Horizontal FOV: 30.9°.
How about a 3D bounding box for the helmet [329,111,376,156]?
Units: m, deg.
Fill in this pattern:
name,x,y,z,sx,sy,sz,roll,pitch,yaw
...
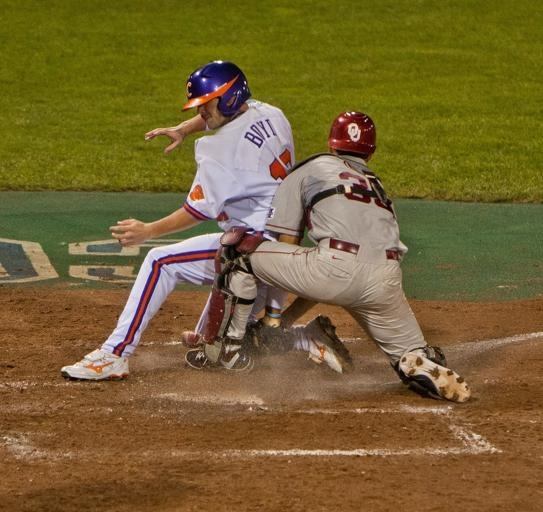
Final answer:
name,x,y,z,sx,sy,sz,roll,pitch,yaw
helmet,0.545,-0.815,6.347,0.376,0.240,0.358,1,21,0
